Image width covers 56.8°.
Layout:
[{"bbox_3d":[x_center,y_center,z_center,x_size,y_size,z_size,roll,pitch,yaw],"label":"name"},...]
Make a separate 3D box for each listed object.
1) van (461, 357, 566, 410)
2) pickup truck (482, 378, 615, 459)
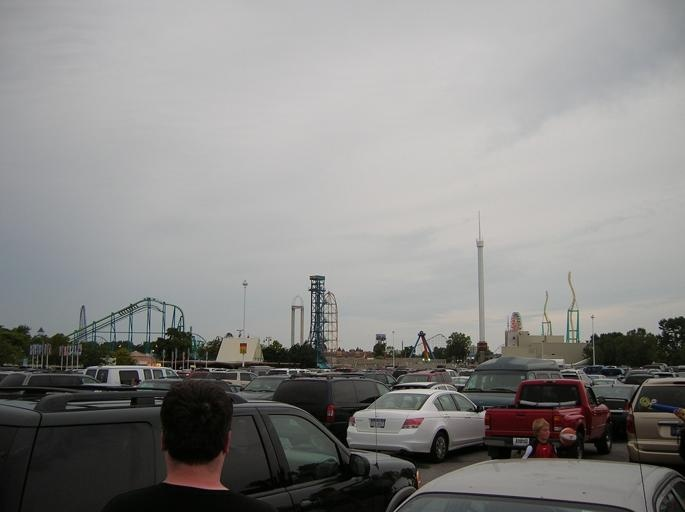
[{"bbox_3d":[5.642,4.546,20.684,2.163,2.447,4.288,-8,-13,34],"label":"van"},{"bbox_3d":[4.819,3.540,14.561,1.851,1.602,3.528,-3,-4,36],"label":"pickup truck"}]
